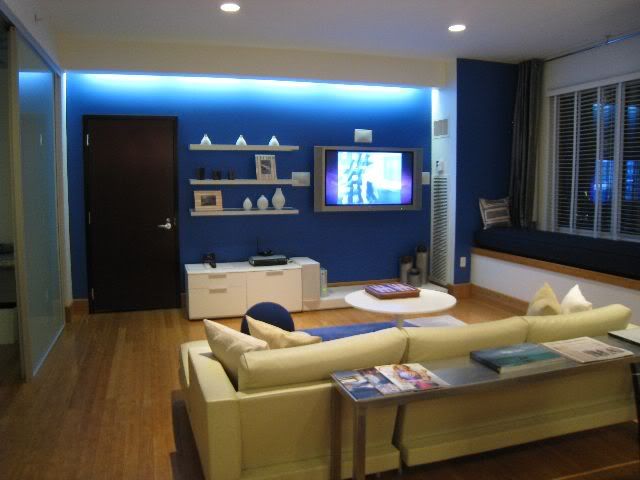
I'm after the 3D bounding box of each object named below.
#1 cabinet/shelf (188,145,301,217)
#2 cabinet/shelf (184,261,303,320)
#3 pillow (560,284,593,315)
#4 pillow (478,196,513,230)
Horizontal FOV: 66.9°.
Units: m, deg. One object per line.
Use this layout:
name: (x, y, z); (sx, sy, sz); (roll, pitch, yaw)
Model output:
cabinet/shelf: (-0.967, -0.760, 6.099); (1.365, 0.843, 0.230); (-2, 7, -19)
cabinet/shelf: (-0.921, 0.596, 5.961); (1.339, 0.597, 0.467); (-3, 10, -15)
pillow: (2.152, 0.488, 4.052); (0.147, 0.274, 0.282); (21, -24, 7)
pillow: (2.298, -0.362, 6.403); (0.413, 0.398, 0.122); (-1, -9, -18)
